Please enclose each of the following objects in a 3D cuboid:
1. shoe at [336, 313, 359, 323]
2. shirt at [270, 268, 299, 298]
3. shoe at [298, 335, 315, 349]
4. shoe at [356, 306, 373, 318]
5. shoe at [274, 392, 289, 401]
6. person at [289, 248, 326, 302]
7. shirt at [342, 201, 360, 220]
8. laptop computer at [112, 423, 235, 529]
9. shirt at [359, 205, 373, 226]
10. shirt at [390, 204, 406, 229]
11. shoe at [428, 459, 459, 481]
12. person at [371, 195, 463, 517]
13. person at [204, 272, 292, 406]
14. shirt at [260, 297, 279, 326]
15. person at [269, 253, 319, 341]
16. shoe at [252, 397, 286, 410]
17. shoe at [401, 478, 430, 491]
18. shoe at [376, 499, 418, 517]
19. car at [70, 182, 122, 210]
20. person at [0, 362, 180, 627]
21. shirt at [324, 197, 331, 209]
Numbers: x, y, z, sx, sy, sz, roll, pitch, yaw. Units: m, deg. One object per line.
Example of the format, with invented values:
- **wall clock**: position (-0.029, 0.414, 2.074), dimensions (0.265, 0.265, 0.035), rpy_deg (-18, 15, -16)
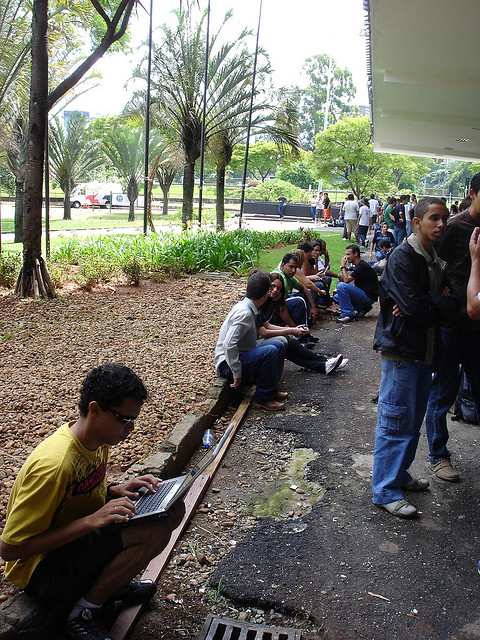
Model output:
- **shoe**: position (1.827, -0.041, 8.122), dimensions (0.404, 0.159, 0.138), rpy_deg (-2, 4, -11)
- **shirt**: position (0.649, -0.497, 6.341), dimensions (0.432, 0.209, 0.321), rpy_deg (-15, -7, 18)
- **shoe**: position (0.860, 0.297, 6.383), dimensions (0.194, 0.176, 0.416), rpy_deg (3, 11, 17)
- **shoe**: position (2.182, -0.157, 8.423), dimensions (0.303, 0.198, 0.144), rpy_deg (-3, 11, -12)
- **shoe**: position (0.420, 0.764, 4.845), dimensions (0.136, 0.055, 0.060), rpy_deg (-11, 4, 8)
- **person**: position (1.033, -0.680, 7.394), dimensions (0.623, 1.053, 0.379), rpy_deg (-13, 47, 4)
- **shirt**: position (4.108, -4.072, 17.777), dimensions (0.457, 0.664, 0.521), rpy_deg (1, 11, 10)
- **laptop computer**: position (-0.278, 0.640, 1.958), dimensions (0.399, 0.336, 0.419), rpy_deg (-1, 11, -1)
- **shirt**: position (4.462, -3.724, 17.204), dimensions (0.384, 0.668, 0.924), rpy_deg (2, 11, 13)
- **shirt**: position (4.865, -3.183, 14.686), dimensions (0.410, 0.686, 0.709), rpy_deg (3, 11, 17)
- **shoe**: position (1.411, 1.035, 3.343), dimensions (0.089, 0.074, 0.181), rpy_deg (4, 2, -25)
- **person**: position (1.066, 0.191, 2.972), dimensions (0.545, 1.804, 0.643), rpy_deg (2, 2, 31)
- **person**: position (0.170, 0.172, 4.707), dimensions (0.932, 1.205, 0.561), rpy_deg (-8, 12, -16)
- **shirt**: position (0.363, -0.111, 5.744), dimensions (0.239, 0.299, 0.108), rpy_deg (0, 1, -8)
- **person**: position (0.687, -0.317, 6.581), dimensions (0.710, 1.137, 0.515), rpy_deg (1, 14, 24)
- **shoe**: position (0.285, 0.812, 4.691), dimensions (0.308, 0.137, 0.110), rpy_deg (-3, 2, 12)
- **shoe**: position (1.162, 1.081, 3.220), dimensions (0.208, 0.087, 0.070), rpy_deg (-6, 17, 5)
- **shoe**: position (0.963, 1.128, 2.941), dimensions (0.198, 0.080, 0.080), rpy_deg (-5, 4, 36)
- **car**: position (-11.748, -10.119, 38.645), dimensions (4.771, 2.415, 2.615), rpy_deg (0, 12, -6)
- **person**: position (-0.604, 0.734, 1.881), dimensions (0.634, 1.163, 0.449), rpy_deg (-8, 13, -32)
- **shirt**: position (5.442, -7.343, 30.124), dimensions (0.306, 0.680, 0.657), rpy_deg (1, 11, 9)
